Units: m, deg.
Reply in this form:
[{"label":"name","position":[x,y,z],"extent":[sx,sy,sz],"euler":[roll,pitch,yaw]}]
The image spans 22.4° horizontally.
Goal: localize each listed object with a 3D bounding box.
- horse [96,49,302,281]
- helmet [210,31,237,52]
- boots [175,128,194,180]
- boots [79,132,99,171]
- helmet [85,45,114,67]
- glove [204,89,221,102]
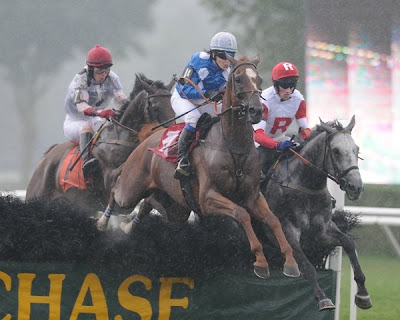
[{"label":"horse","position":[-0.109,0.022,13.513],"extent":[1.063,2.630,3.505],"euler":[5,-2,-35]},{"label":"helmet","position":[0.296,-1.531,12.995],"extent":[0.313,0.181,0.247],"euler":[6,9,17]},{"label":"boots","position":[-0.190,-0.070,12.969],"extent":[0.202,0.669,0.204],"euler":[14,-13,-23]},{"label":"boots","position":[-1.530,-0.133,13.815],"extent":[0.206,0.524,0.287],"euler":[-2,-4,-7]},{"label":"helmet","position":[-1.317,-1.463,13.852],"extent":[0.424,0.275,0.352],"euler":[-4,18,7]},{"label":"glove","position":[0.167,-0.838,13.039],"extent":[0.190,0.134,0.069],"euler":[29,-1,33]}]
